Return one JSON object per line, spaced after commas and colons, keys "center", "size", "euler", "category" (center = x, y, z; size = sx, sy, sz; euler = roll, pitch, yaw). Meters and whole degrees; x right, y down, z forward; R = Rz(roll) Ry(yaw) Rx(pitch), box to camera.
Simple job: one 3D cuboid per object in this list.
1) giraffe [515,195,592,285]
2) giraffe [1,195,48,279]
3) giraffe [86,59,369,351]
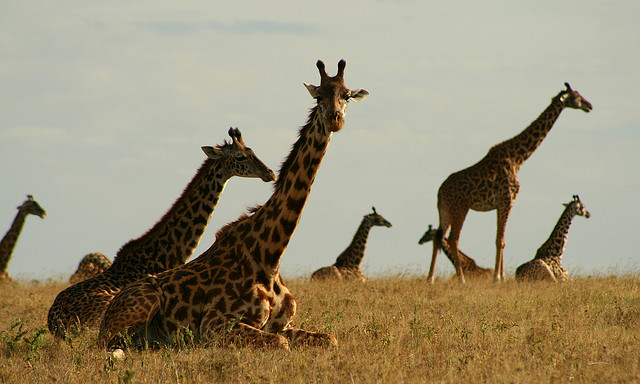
{"center": [6.857, 1.833, 34.177], "size": [2.208, 0.759, 3.719], "euler": [-10, -59, -1], "category": "giraffe"}
{"center": [-8.661, 1.154, 34.052], "size": [0.956, 2.726, 1.811], "euler": [13, -22, -17], "category": "giraffe"}
{"center": [-1.629, 0.640, 26.040], "size": [4.961, 6.223, 2.399], "euler": [-3, -23, 23], "category": "giraffe"}
